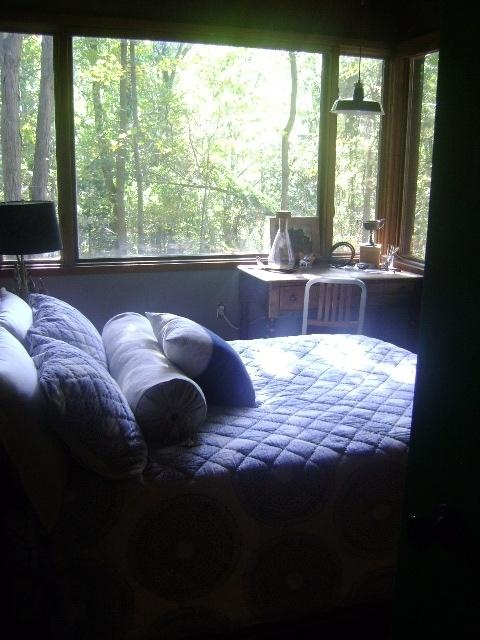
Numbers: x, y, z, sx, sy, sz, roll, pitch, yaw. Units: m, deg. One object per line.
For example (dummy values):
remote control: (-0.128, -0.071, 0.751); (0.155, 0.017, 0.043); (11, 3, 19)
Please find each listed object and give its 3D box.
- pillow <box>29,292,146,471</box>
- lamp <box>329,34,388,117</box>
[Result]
pillow: (-0.504, 0.187, 1.584); (0.283, 0.266, 0.780); (-3, 17, -25)
lamp: (0.775, -1.573, 3.329); (0.257, 0.541, 0.271); (6, -4, -23)
